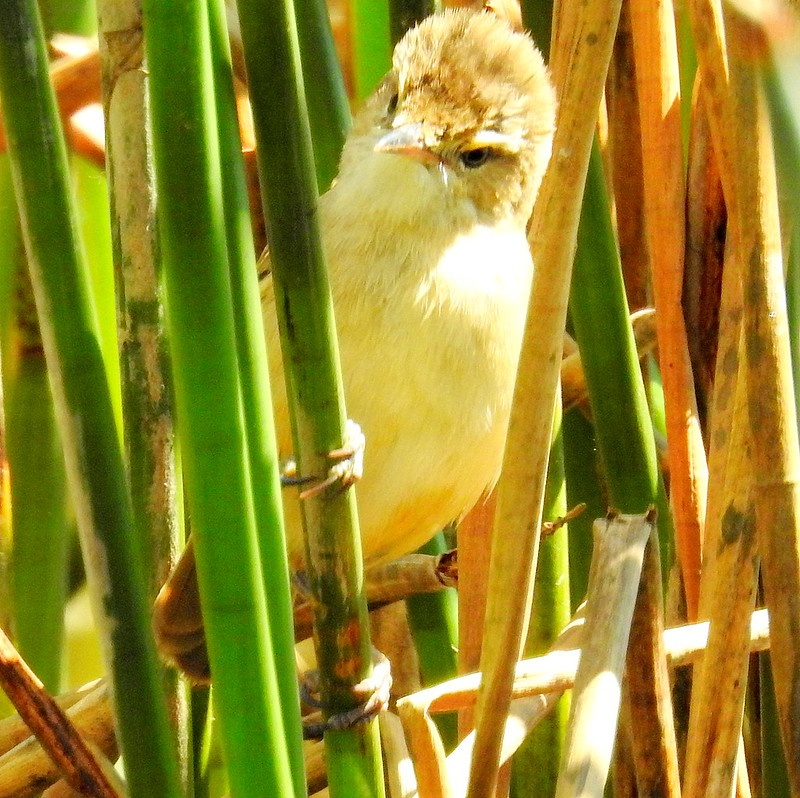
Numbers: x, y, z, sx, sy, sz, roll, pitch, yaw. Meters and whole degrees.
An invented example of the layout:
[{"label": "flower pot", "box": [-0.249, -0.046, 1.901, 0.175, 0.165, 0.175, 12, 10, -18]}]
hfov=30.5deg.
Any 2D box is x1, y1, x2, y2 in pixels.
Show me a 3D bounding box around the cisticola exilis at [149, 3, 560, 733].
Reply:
[{"label": "cisticola exilis", "box": [-0.082, -0.116, 2.061, 0.419, 0.977, 0.675, -3, 5, -12]}]
